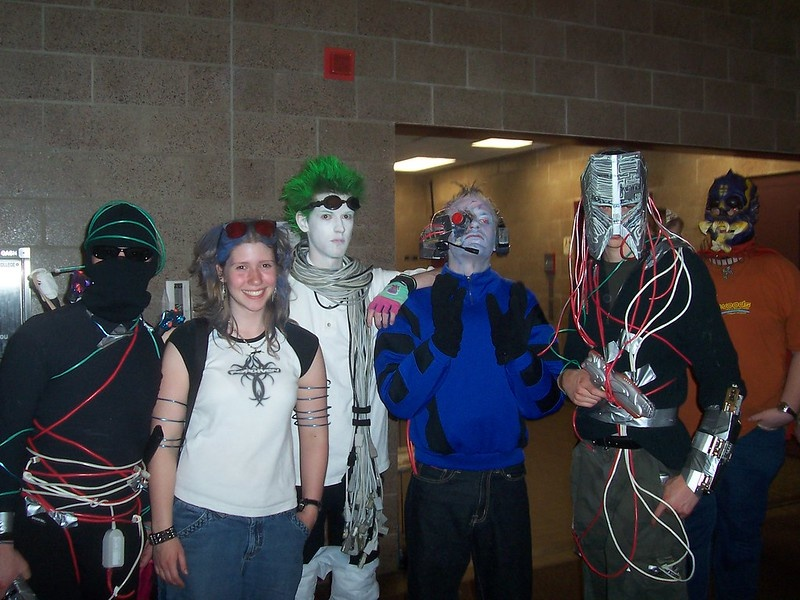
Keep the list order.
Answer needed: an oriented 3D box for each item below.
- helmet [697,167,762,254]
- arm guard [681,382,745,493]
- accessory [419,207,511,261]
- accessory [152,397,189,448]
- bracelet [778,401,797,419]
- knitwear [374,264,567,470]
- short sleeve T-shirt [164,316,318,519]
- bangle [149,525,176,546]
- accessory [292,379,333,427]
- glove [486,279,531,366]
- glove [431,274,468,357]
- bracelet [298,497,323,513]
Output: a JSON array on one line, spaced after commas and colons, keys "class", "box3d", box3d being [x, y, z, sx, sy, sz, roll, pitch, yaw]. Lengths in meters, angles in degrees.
[{"class": "helmet", "box3d": [1.812, -0.486, 3.971, 0.259, 0.429, 0.230, 6, 4, 23]}, {"class": "arm guard", "box3d": [1.271, 0.586, 3.013, 0.170, 0.540, 0.186, 23, -6, 34]}, {"class": "accessory", "box3d": [0.217, -0.303, 3.358, 0.235, 0.150, 0.338, 6, -3, -6]}, {"class": "accessory", "box3d": [-0.885, 0.447, 2.827, 0.138, 0.096, 0.098, 14, 0, 16]}, {"class": "bracelet", "box3d": [1.946, 0.552, 3.609, 0.058, 0.037, 0.059, 41, -11, -17]}, {"class": "knitwear", "box3d": [0.284, 0.319, 3.284, 0.817, 0.856, 0.508, 0, 5, -11]}, {"class": "short sleeve T-shirt", "box3d": [-0.655, 0.466, 2.855, 0.684, 0.837, 0.440, 6, -9, -26]}, {"class": "bangle", "box3d": [-0.911, 0.896, 2.748, 0.086, 0.060, 0.094, -10, -9, -24]}, {"class": "accessory", "box3d": [-0.374, 0.453, 3.082, 0.164, 0.176, 0.157, 5, -10, -39]}, {"class": "glove", "box3d": [0.475, 0.098, 3.193, 0.188, 0.334, 0.260, 2, 8, 9]}, {"class": "glove", "box3d": [0.202, 0.066, 3.110, 0.167, 0.306, 0.072, 4, -18, -16]}, {"class": "bracelet", "box3d": [-0.380, 0.860, 3.014, 0.064, 0.035, 0.059, -1, 14, -3]}]
